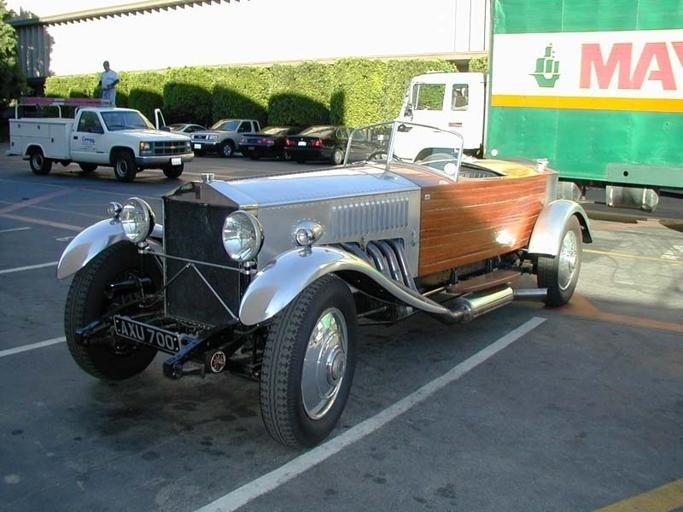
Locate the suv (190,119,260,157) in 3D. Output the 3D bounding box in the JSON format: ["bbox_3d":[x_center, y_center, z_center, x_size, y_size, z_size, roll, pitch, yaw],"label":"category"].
[{"bbox_3d":[-6.277,-6.545,26.905,1.871,1.683,3.425,7,12,41],"label":"suv"}]

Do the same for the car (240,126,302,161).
[{"bbox_3d":[-3.459,-5.875,25.222,1.452,1.034,3.161,11,20,37],"label":"car"}]
